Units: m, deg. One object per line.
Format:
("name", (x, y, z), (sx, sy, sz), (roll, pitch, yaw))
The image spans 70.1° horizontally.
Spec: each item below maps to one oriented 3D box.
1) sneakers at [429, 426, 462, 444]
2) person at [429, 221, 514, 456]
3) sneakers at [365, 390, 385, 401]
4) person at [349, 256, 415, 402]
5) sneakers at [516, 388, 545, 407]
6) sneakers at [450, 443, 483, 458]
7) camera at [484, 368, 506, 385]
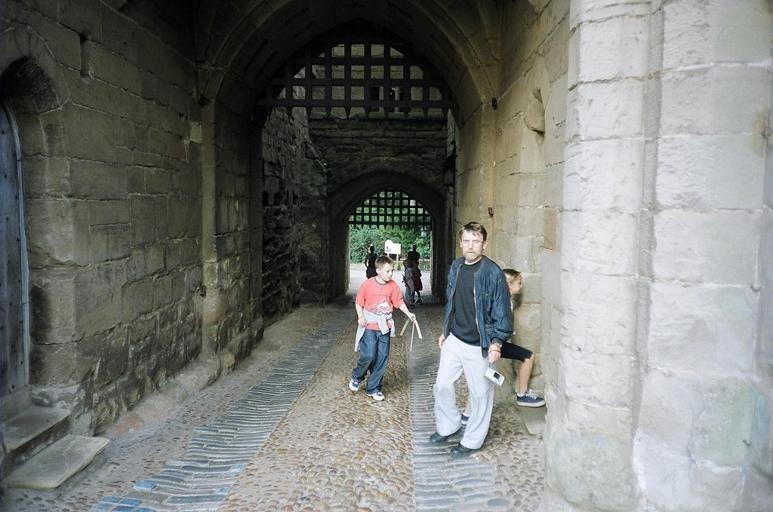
("sneakers", (0.432, 1.356, 3.996), (0.239, 0.103, 0.090), (4, -4, -28))
("person", (0.555, 0.587, 3.763), (0.588, 1.617, 0.341), (0, 6, 20))
("sneakers", (-0.088, 1.247, 4.682), (0.143, 0.067, 0.064), (0, -10, 38))
("person", (-0.070, 0.640, 4.760), (0.571, 1.267, 0.678), (-3, 6, -6))
("sneakers", (1.117, 1.163, 4.279), (0.196, 0.101, 0.096), (-1, -1, 2))
("sneakers", (0.550, 1.394, 3.766), (0.198, 0.072, 0.081), (6, -9, -9))
("camera", (0.709, 0.834, 3.636), (0.048, 0.111, 0.149), (-27, 8, -20))
